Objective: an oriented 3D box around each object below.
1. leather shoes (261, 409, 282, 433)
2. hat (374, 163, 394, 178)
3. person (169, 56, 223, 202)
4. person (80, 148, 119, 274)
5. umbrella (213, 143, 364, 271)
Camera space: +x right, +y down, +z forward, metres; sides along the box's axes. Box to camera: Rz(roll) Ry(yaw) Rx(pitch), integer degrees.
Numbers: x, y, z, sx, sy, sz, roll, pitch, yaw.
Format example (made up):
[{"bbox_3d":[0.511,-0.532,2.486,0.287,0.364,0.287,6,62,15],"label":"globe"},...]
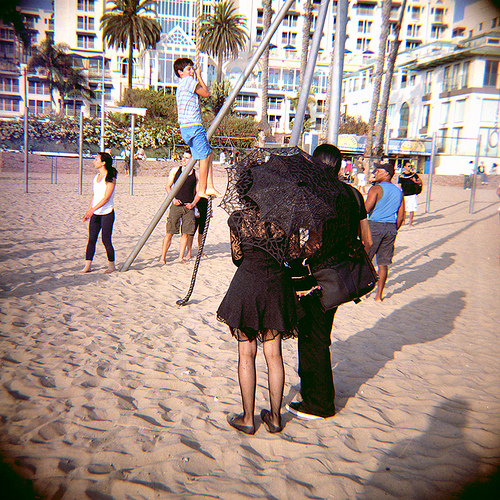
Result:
[{"bbox_3d":[0.161,1.255,3.635,0.076,0.080,0.206,4,37,-26],"label":"leather shoes"},{"bbox_3d":[1.922,-1.135,6.892,0.217,0.194,0.353,13,14,32],"label":"hat"},{"bbox_3d":[-0.670,-1.538,5.995,0.430,1.641,0.886,-2,14,-33],"label":"person"},{"bbox_3d":[-2.168,-0.518,7.093,0.486,1.782,0.817,3,12,-16],"label":"person"},{"bbox_3d":[0.256,-0.272,3.393,0.971,0.861,0.571,8,12,10],"label":"umbrella"}]
